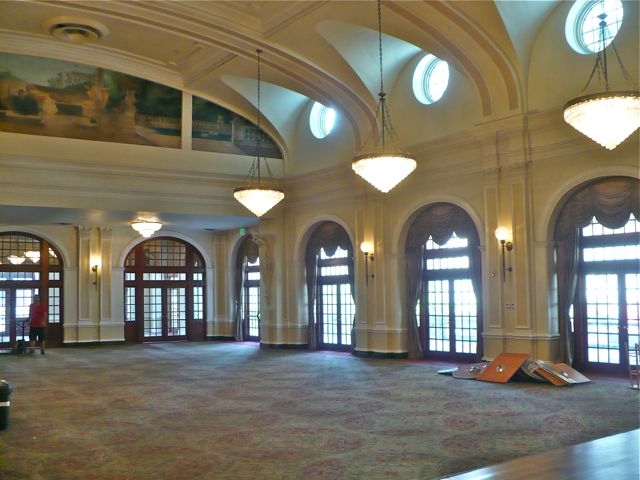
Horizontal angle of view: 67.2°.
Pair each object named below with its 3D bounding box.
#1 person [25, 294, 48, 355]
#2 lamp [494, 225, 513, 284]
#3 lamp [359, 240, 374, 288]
[{"bbox_3d":[-9.027,2.712,15.354,0.456,1.845,0.732,2,-6,-33],"label":"person"},{"bbox_3d":[4.046,0.276,10.505,0.363,1.227,0.278,-5,-6,36],"label":"lamp"},{"bbox_3d":[1.271,0.631,13.337,0.268,1.280,0.472,3,-7,-37],"label":"lamp"}]
